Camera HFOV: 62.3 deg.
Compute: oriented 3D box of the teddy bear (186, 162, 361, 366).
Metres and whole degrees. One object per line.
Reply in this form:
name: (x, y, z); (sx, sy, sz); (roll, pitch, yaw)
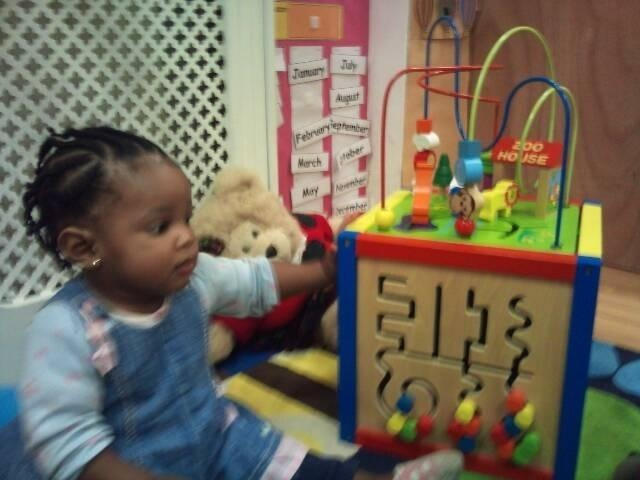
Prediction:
teddy bear: (-0.166, 0.060, 1.542); (0.670, 0.544, 0.333); (-7, 7, -25)
